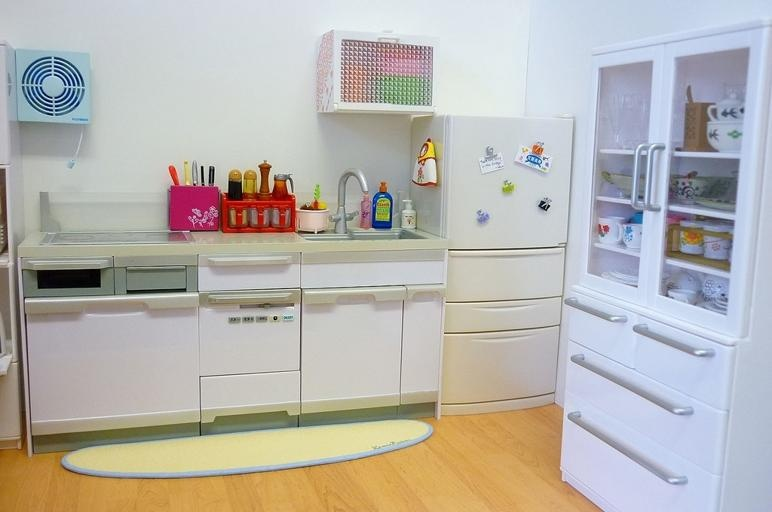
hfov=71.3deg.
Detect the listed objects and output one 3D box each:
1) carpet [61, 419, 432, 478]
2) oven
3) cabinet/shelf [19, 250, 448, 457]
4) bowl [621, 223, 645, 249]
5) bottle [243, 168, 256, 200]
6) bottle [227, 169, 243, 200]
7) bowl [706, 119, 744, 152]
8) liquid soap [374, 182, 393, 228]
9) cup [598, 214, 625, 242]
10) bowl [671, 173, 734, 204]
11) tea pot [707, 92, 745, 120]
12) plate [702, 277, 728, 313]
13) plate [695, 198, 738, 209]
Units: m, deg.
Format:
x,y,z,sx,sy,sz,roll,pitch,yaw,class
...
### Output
x,y,z,sx,sy,sz,roll,pitch,yaw,class
-0.676,1.031,2.938,1.937,0.525,0.045,-1,43,-12,carpet
-0.776,0.341,3.061,0.587,0.482,0.457,0,0,-14,oven
-0.815,0.489,3.221,2.224,0.974,0.583,-1,-2,-20,cabinet/shelf
1.137,-0.091,2.519,0.084,0.083,0.105,-2,3,-36,bowl
-0.824,-0.436,3.274,0.078,0.165,0.127,-3,12,-12,bottle
-0.894,-0.416,3.186,0.083,0.167,0.055,-4,12,-16,bottle
1.356,-0.480,2.165,0.025,0.125,0.147,-4,12,-16,bowl
0.003,-0.325,3.494,0.190,0.291,0.100,-9,14,-36,liquid soap
1.090,-0.118,2.617,0.084,0.093,0.128,0,12,4,cup
1.316,-0.285,2.246,0.170,0.069,0.095,2,0,-25,bowl
1.363,-0.596,2.134,0.103,0.082,0.076,1,7,33,tea pot
1.348,0.153,2.207,0.041,0.130,0.129,-3,12,-14,plate
1.342,-0.211,2.193,0.016,0.041,0.167,-4,12,-19,plate
